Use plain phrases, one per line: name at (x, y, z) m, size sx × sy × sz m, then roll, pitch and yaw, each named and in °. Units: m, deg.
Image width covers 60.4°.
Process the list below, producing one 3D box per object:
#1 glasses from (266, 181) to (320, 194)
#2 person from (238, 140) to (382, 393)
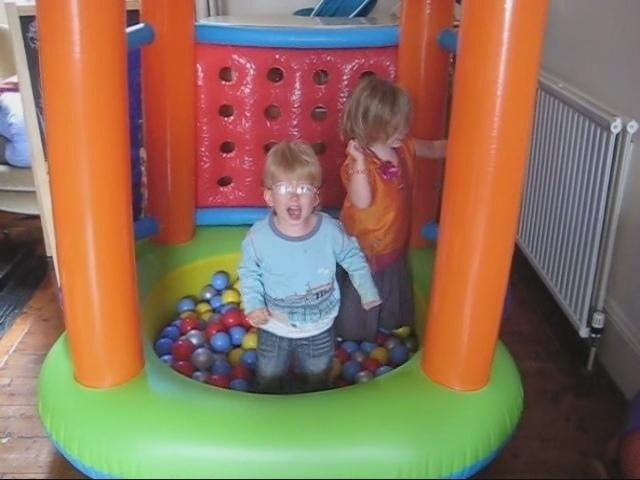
glasses at (-0.077, -0.146, 1.569) m, size 0.120 × 0.036 × 0.038 m, roll -3°, pitch 30°, yaw -3°
person at (-0.036, 0.212, 1.749) m, size 0.442 × 0.979 × 0.394 m, roll 0°, pitch 30°, yaw -5°
